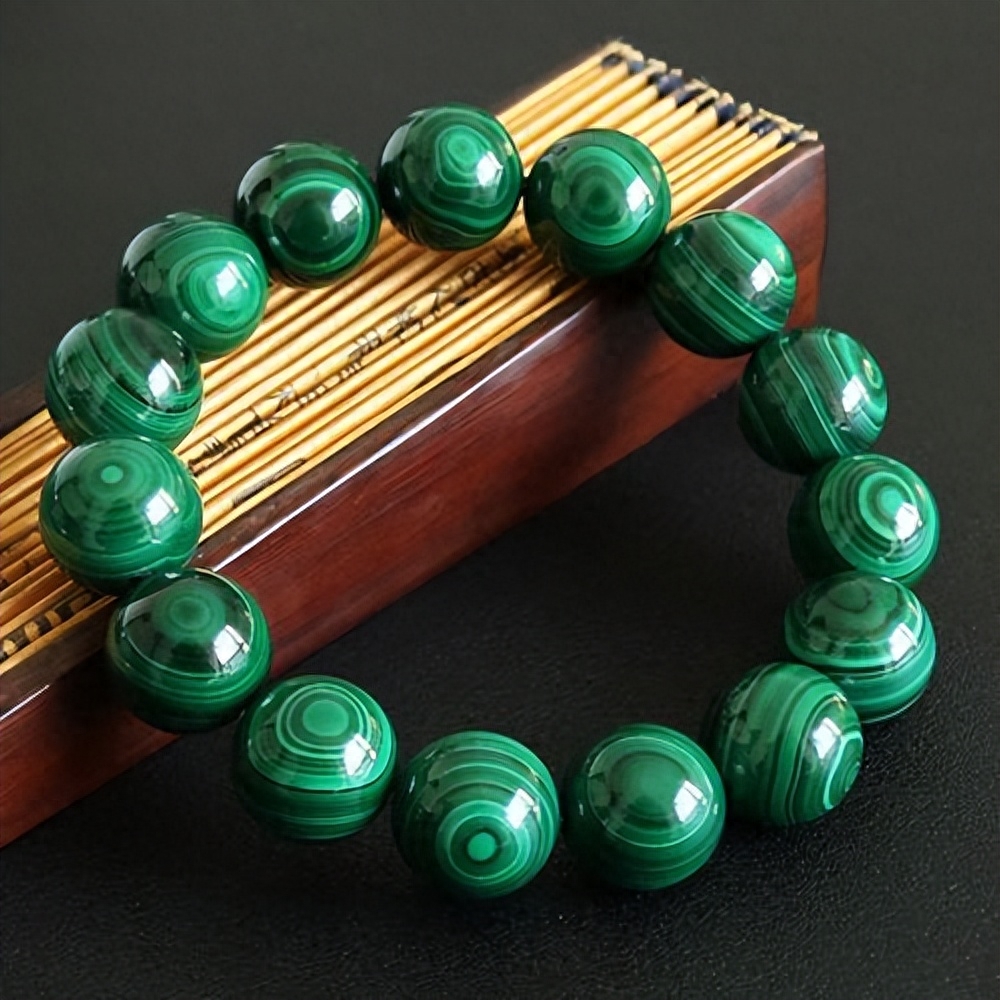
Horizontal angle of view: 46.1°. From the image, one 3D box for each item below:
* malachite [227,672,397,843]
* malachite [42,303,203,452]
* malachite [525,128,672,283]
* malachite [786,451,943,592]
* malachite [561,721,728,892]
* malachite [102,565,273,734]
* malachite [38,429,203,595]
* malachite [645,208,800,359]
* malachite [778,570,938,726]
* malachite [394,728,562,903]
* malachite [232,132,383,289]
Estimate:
[{"bbox_3d":[-0.087,0.124,0.575,0.083,0.075,0.079,-5,39,-8],"label":"malachite"},{"bbox_3d":[-0.208,-0.058,0.660,0.092,0.101,0.090,-4,47,-20],"label":"malachite"},{"bbox_3d":[0.063,-0.168,0.689,0.090,0.084,0.045,-7,1,-2],"label":"malachite"},{"bbox_3d":[0.211,0.009,0.685,0.091,0.089,0.050,22,-27,-7],"label":"malachite"},{"bbox_3d":[0.071,0.153,0.610,0.078,0.086,0.077,0,-2,3],"label":"malachite"},{"bbox_3d":[-0.146,0.075,0.633,0.080,0.091,0.080,4,22,7],"label":"malachite"},{"bbox_3d":[-0.186,0.004,0.638,0.083,0.078,0.078,0,23,4],"label":"malachite"},{"bbox_3d":[0.131,-0.130,0.699,0.087,0.095,0.085,2,6,6],"label":"malachite"},{"bbox_3d":[0.196,0.074,0.650,0.083,0.061,0.081,-22,39,-8],"label":"malachite"},{"bbox_3d":[-0.008,0.156,0.609,0.081,0.090,0.080,-1,-1,4],"label":"malachite"},{"bbox_3d":[-0.108,-0.171,0.673,0.082,0.094,0.081,0,17,3],"label":"malachite"}]
